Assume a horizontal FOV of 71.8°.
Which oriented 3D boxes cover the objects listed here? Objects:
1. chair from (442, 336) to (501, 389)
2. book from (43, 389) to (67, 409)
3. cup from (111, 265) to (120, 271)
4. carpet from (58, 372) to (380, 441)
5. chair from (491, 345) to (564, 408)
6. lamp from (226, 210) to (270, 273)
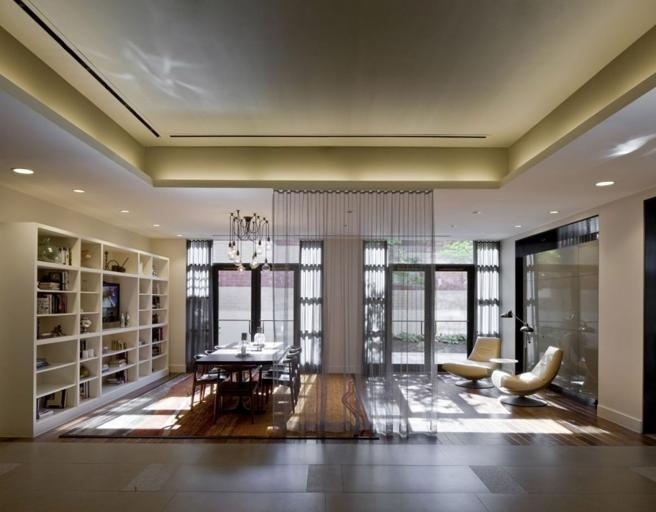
[{"bbox_3d":[2.618,1.957,8.458,0.970,0.878,0.826,12,-13,-41],"label":"chair"},{"bbox_3d":[-3.662,1.951,6.074,0.255,0.269,0.063,2,-8,-7],"label":"book"},{"bbox_3d":[-3.679,0.195,7.882,0.136,0.134,0.080,1,-1,-8],"label":"cup"},{"bbox_3d":[-1.307,1.869,6.299,3.976,0.798,2.277,0,-2,8],"label":"carpet"},{"bbox_3d":[3.076,1.863,7.187,1.026,0.937,0.825,0,-7,2],"label":"chair"},{"bbox_3d":[-1.350,-0.255,7.728,0.767,0.921,0.729,4,11,-6],"label":"lamp"}]
